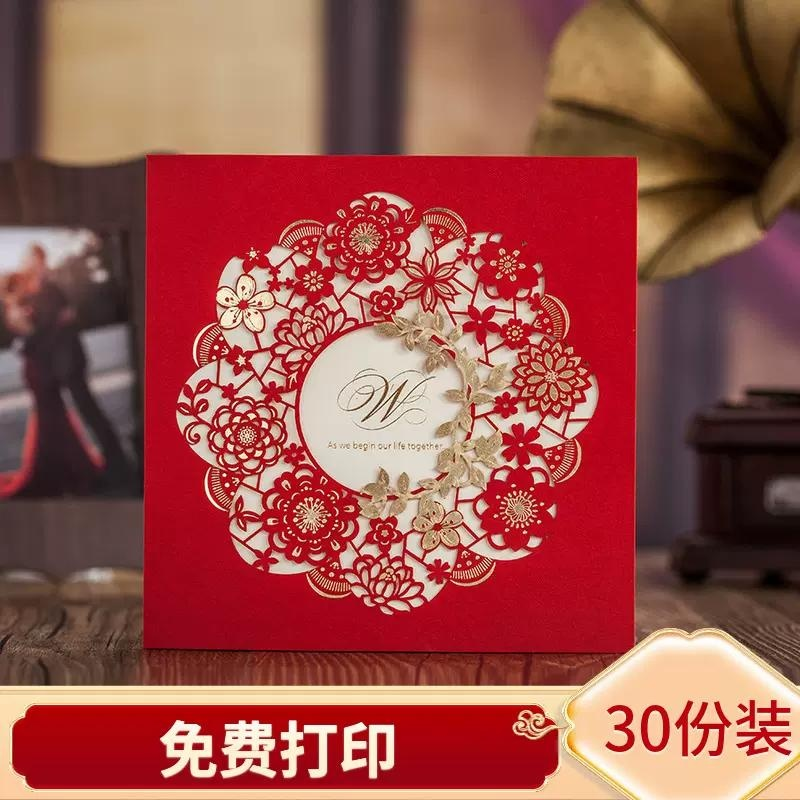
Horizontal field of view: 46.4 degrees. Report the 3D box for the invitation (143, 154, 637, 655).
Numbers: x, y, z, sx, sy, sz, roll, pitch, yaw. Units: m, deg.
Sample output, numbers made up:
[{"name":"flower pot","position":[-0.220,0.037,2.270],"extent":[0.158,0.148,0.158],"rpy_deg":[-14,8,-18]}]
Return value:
[{"name":"invitation","position":[-0.017,0.007,1.591],"extent":[0.828,0.327,0.837],"rpy_deg":[0,73,-4]}]
